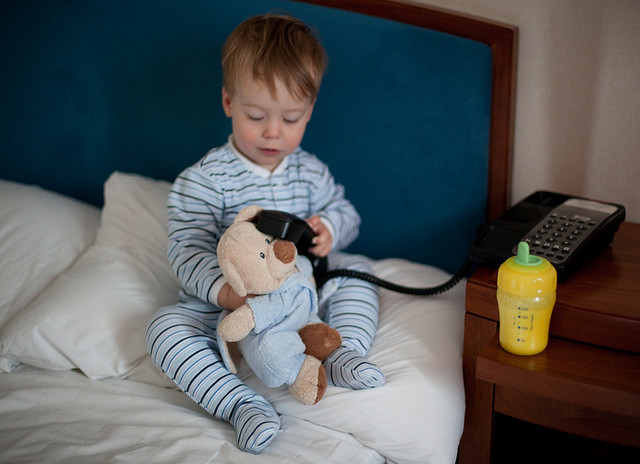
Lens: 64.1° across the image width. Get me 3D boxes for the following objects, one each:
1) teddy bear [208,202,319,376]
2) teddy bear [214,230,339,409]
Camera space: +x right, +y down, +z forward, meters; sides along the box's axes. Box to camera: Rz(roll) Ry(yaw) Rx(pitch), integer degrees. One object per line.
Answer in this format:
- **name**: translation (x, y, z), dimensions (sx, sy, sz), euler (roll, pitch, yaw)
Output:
- **teddy bear**: translation (-0.130, 0.155, 1.220), dimensions (0.238, 0.296, 0.293), euler (14, 47, 21)
- **teddy bear**: translation (-0.082, 0.221, 1.210), dimensions (0.155, 0.400, 0.374), euler (-23, -8, 34)
